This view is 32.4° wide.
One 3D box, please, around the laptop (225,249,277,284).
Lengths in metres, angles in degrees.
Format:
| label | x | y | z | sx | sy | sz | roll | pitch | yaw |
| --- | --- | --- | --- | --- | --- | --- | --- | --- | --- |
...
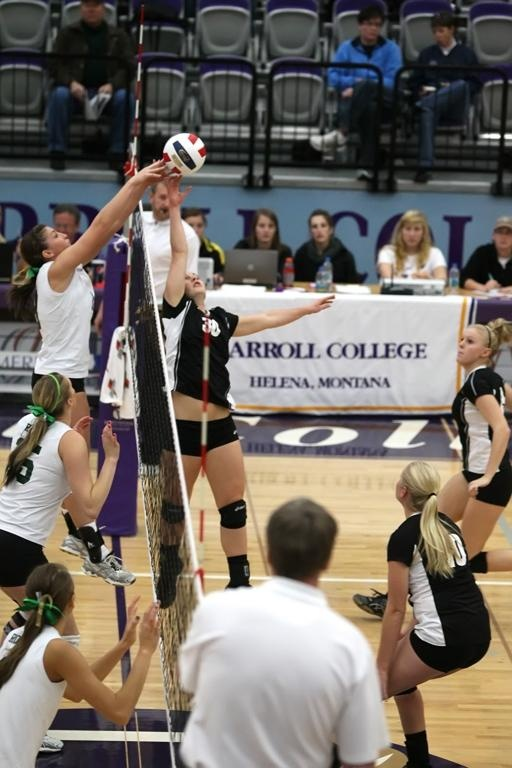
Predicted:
| label | x | y | z | sx | sy | sz | roll | pitch | yaw |
| --- | --- | --- | --- | --- | --- | --- | --- | --- | --- |
| laptop | -0.043 | -1.101 | 8.298 | 0.464 | 0.328 | 0.326 | 1 | 15 | 2 |

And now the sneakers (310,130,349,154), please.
| label | x | y | z | sx | sy | sz | roll | pitch | yaw |
| --- | --- | --- | --- | --- | --- | --- | --- | --- | --- |
| sneakers | 0.896 | -2.954 | 10.737 | 0.360 | 0.293 | 0.157 | -4 | -25 | -3 |
